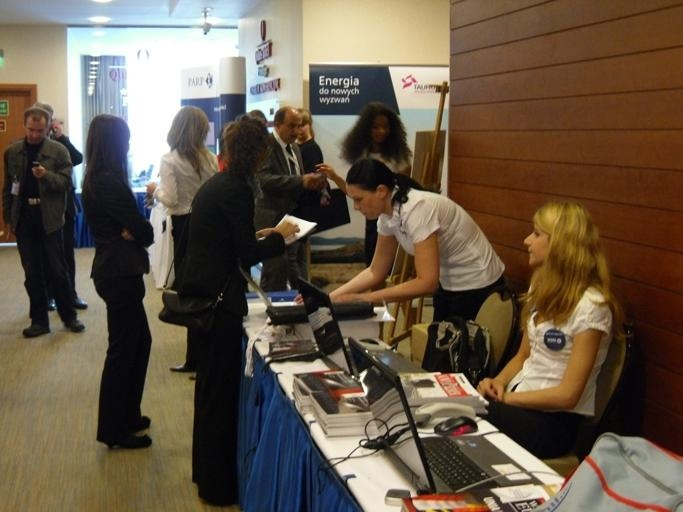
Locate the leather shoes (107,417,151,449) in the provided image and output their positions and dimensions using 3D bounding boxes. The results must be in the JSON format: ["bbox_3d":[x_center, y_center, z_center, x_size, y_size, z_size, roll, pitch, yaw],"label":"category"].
[{"bbox_3d":[-1.351,1.120,3.174,0.256,0.126,0.316,-7,15,-22],"label":"leather shoes"}]

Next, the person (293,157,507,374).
[{"bbox_3d":[0.357,0.224,2.685,1.003,1.481,0.589,-7,9,0],"label":"person"}]

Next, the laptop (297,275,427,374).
[{"bbox_3d":[0.085,0.315,2.003,0.350,0.325,0.516,-18,12,-20],"label":"laptop"}]

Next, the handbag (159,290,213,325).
[{"bbox_3d":[-0.739,0.261,2.359,0.262,0.165,0.084,8,6,9],"label":"handbag"}]

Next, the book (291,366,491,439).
[{"bbox_3d":[0.090,0.477,1.635,0.391,0.088,0.371,0,1,-14],"label":"book"}]

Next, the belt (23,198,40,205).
[{"bbox_3d":[-2.939,-0.518,4.758,0.068,0.034,0.082,1,-4,-8],"label":"belt"}]

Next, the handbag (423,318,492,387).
[{"bbox_3d":[0.532,0.458,2.360,0.285,0.319,0.264,-3,-10,13],"label":"handbag"}]

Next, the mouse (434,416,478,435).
[{"bbox_3d":[0.360,0.545,1.574,0.104,0.040,0.062,2,-3,-13],"label":"mouse"}]
